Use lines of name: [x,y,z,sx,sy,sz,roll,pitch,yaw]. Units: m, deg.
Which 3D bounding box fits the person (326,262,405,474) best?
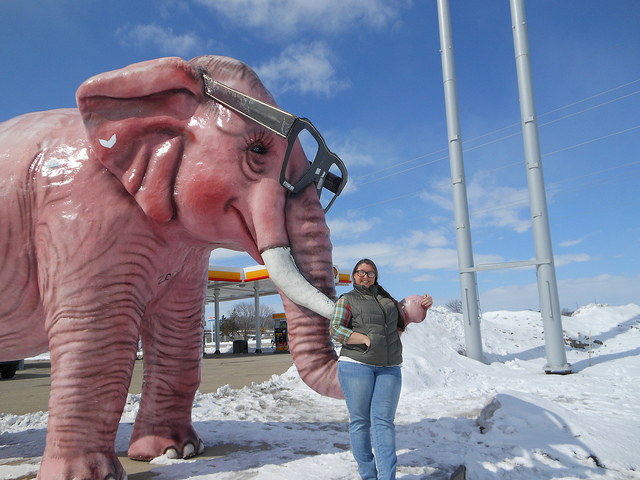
person: [0.393,0.956,3.300,0.610,1.599,0.377,-4,-14,-7]
